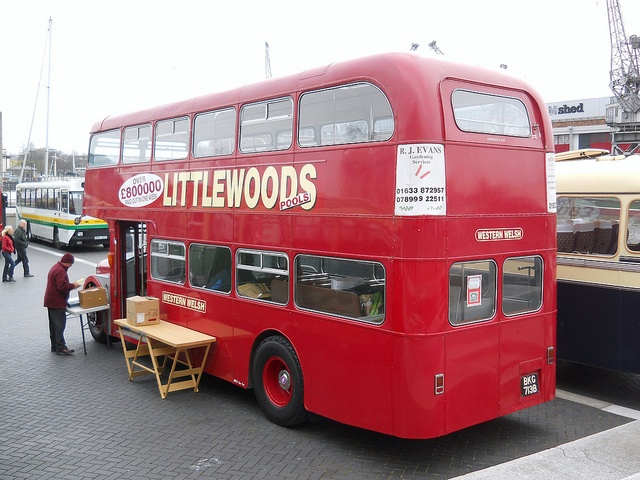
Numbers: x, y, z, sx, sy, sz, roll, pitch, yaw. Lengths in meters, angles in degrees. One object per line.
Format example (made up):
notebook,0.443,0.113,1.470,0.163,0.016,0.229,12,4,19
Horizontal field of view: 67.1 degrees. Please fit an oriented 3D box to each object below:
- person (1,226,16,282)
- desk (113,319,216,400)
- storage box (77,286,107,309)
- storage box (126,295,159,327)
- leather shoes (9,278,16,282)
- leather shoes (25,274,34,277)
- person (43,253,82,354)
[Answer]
person,-12.819,0.570,19.916,0.434,2.218,1.100,-3,5,-34
desk,-2.984,2.230,9.205,2.155,1.127,0.835,5,4,39
storage box,-5.165,1.261,10.982,0.465,0.322,0.459,-2,1,-42
storage box,-3.411,1.334,9.421,0.533,0.562,0.517,0,-1,-45
leather shoes,-12.521,1.621,19.730,0.259,0.159,0.308,-4,6,-34
leather shoes,-12.468,1.506,20.815,0.328,0.149,0.116,-5,13,-4
person,-5.744,1.434,10.788,0.814,2.285,0.561,3,5,36
